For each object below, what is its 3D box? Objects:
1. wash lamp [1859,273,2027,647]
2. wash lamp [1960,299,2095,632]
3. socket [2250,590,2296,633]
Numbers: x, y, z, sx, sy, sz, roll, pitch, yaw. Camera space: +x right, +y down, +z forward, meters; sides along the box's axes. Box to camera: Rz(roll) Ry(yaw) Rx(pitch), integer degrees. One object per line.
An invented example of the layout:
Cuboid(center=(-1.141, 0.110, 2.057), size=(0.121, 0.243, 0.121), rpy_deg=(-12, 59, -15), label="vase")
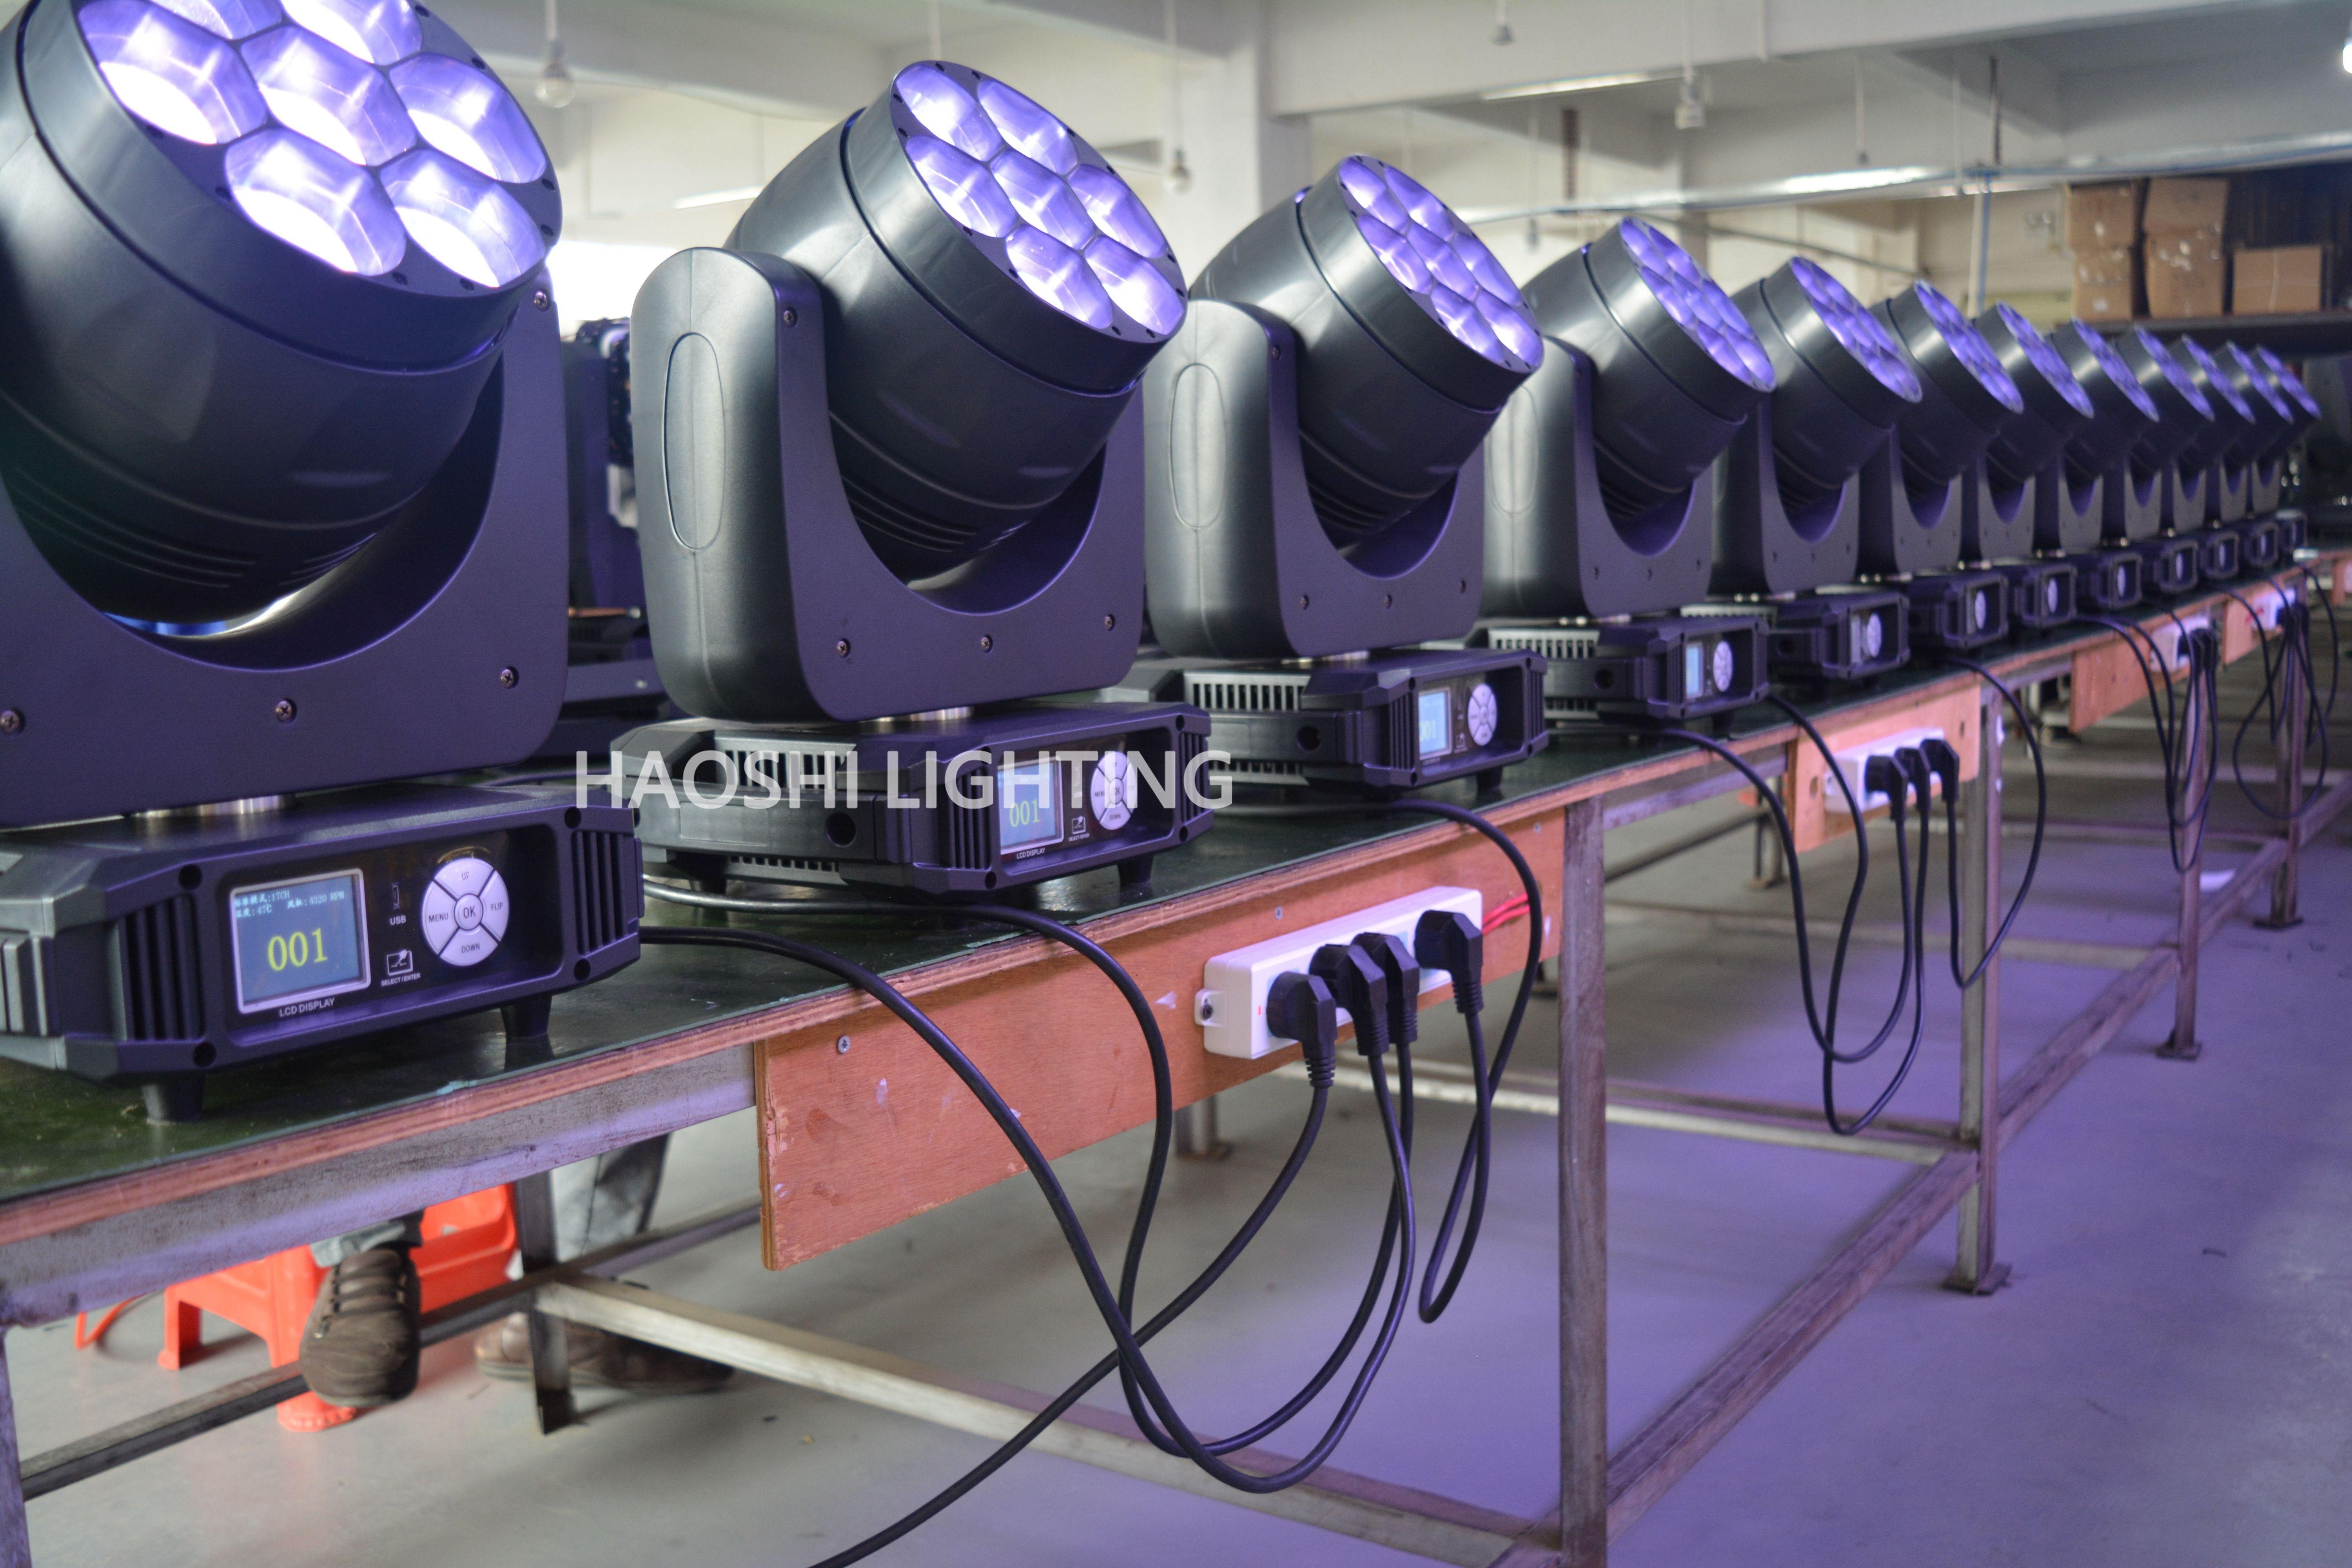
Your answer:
Cuboid(center=(1.335, -0.535, 3.084), size=(0.246, 0.496, 0.298), rpy_deg=(-16, 16, -41), label="wash lamp")
Cuboid(center=(1.655, -0.592, 3.491), size=(0.231, 0.551, 0.331), rpy_deg=(1, 2, -23), label="wash lamp")
Cuboid(center=(2.283, -0.359, 3.923), size=(0.076, 0.029, 0.077), rpy_deg=(-36, 30, -12), label="socket")
